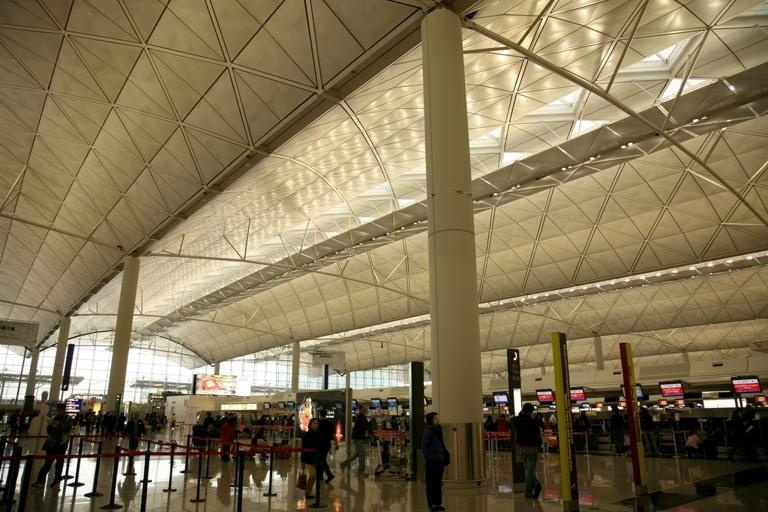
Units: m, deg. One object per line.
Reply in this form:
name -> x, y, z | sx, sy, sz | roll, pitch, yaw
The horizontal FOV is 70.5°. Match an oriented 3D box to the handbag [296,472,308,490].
handbag -> -3.381, 9.237, 22.269 | 0.451, 0.570, 0.403 | -4, -20, 5

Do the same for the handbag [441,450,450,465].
handbag -> 2.237, 7.203, 19.488 | 0.323, 0.490, 0.213 | 3, -21, -13
